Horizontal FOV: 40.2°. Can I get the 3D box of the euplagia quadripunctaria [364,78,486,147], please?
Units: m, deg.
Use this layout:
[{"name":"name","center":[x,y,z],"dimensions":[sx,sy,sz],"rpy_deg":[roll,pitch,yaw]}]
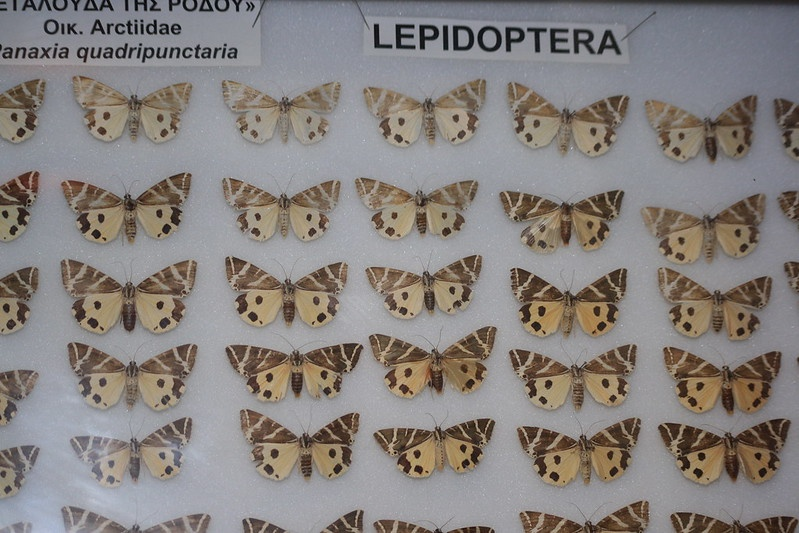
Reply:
[{"name":"euplagia quadripunctaria","center":[0.145,-0.765,5.505],"dimensions":[0.509,0.121,0.324],"rpy_deg":[-6,-84,-2]}]
